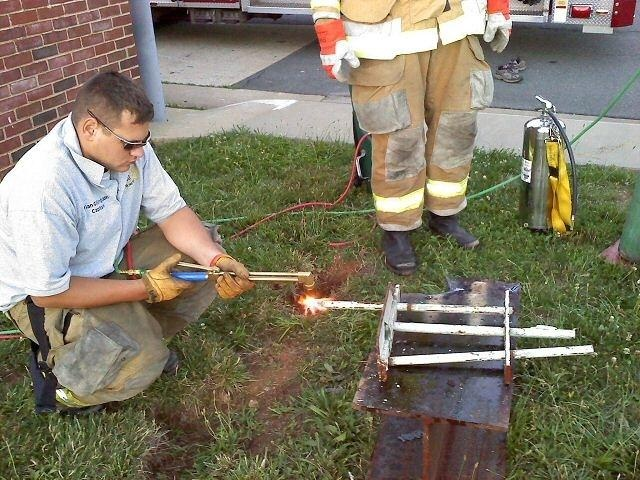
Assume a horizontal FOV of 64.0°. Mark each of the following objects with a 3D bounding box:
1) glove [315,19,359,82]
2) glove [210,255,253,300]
[{"bbox_3d":[0.121,-1.256,3.398,0.275,0.409,0.175,-6,-5,21],"label":"glove"},{"bbox_3d":[-0.492,0.217,2.954,0.171,0.155,0.296,-2,15,-17],"label":"glove"}]
